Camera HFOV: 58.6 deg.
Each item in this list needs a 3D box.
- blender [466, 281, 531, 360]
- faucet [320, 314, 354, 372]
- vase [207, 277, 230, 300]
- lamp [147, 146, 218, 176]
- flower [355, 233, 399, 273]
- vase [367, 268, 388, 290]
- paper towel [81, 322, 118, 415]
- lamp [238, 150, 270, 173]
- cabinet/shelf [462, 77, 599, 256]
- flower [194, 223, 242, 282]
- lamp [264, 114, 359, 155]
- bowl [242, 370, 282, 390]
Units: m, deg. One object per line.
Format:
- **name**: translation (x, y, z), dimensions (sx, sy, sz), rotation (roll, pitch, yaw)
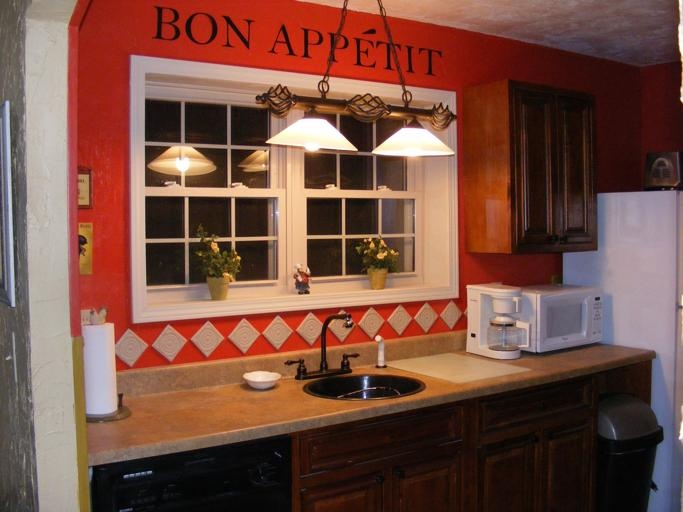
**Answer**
- **blender**: translation (1.023, 0.410, 3.880), dimensions (0.265, 0.439, 0.418), rotation (0, 3, -36)
- **faucet**: translation (-0.030, 0.486, 3.517), dimensions (0.193, 0.341, 0.305), rotation (-3, 2, -1)
- **vase**: translation (-0.677, 0.177, 3.362), dimensions (0.125, 0.108, 0.120), rotation (-1, -4, 1)
- **lamp**: translation (-0.906, -0.545, 3.447), dimensions (0.371, 0.108, 0.035), rotation (-4, 3, -32)
- **flower**: translation (0.245, -0.013, 3.909), dimensions (0.309, 0.230, 0.249), rotation (-4, 3, -18)
- **vase**: translation (0.230, 0.134, 3.825), dimensions (0.131, 0.116, 0.126), rotation (1, -2, -8)
- **paper towel**: translation (-1.157, 0.525, 2.796), dimensions (0.163, 0.407, 0.162), rotation (-8, -16, 0)
- **lamp**: translation (-0.520, -0.549, 3.636), dimensions (0.139, 0.152, 0.146), rotation (4, -2, -27)
- **cabinet/shelf**: translation (1.281, -0.580, 4.032), dimensions (0.909, 1.106, 0.329), rotation (-4, 2, -20)
- **flower**: translation (-0.703, -0.017, 3.459), dimensions (0.267, 0.334, 0.251), rotation (-3, 2, -11)
- **lamp**: translation (-0.125, -0.531, 2.686), dimensions (0.249, 0.106, 0.266), rotation (-1, 3, -32)
- **bowl**: translation (-0.427, 0.659, 3.272), dimensions (0.191, 0.082, 0.217), rotation (-3, 3, -11)
